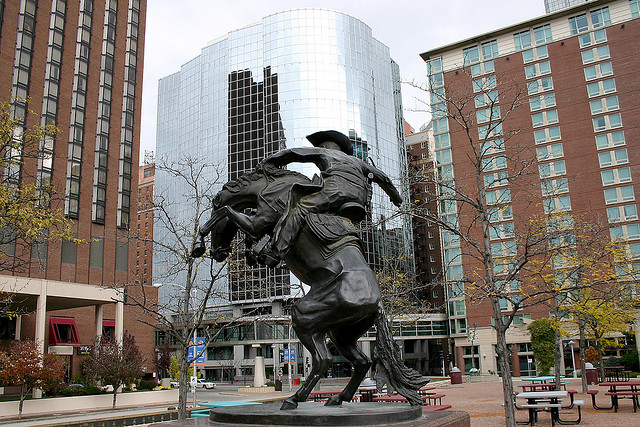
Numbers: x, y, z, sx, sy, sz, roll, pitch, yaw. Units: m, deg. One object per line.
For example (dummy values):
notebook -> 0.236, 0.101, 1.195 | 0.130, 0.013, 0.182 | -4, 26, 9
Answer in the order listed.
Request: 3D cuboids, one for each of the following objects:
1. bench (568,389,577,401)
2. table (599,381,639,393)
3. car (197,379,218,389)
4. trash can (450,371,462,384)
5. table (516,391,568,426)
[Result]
bench -> 17.416, 12.574, 45.511 | 0.357, 0.697, 7.202 | -9, -17, 19
table -> 20.566, 11.840, 44.767 | 1.759, 0.727, 4.692 | -11, -18, 28
car -> -15.002, 22.080, 85.054 | 2.877, 0.787, 1.207 | -1, -23, 22
trash can -> 13.468, 16.404, 65.728 | 0.971, 1.265, 0.844 | -9, -20, 20
table -> 13.859, 11.639, 40.586 | 2.925, 1.592, 2.764 | -9, -27, 24
